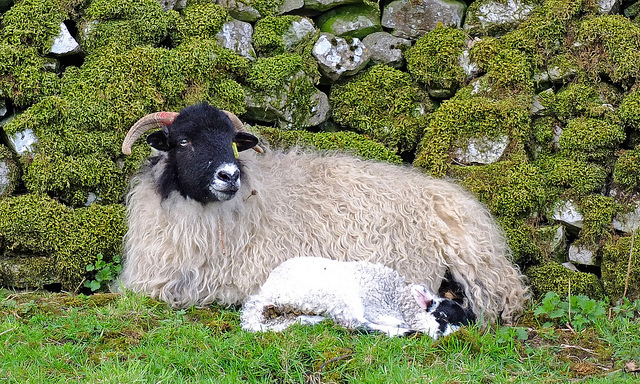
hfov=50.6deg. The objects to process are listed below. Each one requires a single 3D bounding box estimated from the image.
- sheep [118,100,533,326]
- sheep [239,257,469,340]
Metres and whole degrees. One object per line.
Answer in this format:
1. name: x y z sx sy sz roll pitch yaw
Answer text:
1. sheep: -0.067 0.288 9.227 5.524 2.329 2.371 4 7 -4
2. sheep: 0.361 1.307 8.247 2.510 0.876 1.224 5 1 7
